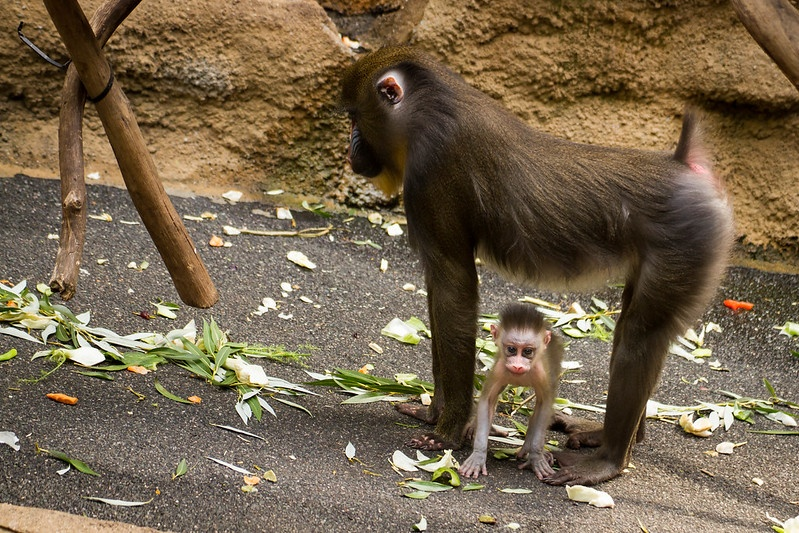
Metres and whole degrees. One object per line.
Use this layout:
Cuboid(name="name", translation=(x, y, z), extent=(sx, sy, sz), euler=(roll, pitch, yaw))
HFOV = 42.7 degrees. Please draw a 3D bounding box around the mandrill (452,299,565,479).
Cuboid(name="mandrill", translation=(0.900, 0.916, 7.777), extent=(0.704, 1.171, 0.863), euler=(7, 23, 5))
